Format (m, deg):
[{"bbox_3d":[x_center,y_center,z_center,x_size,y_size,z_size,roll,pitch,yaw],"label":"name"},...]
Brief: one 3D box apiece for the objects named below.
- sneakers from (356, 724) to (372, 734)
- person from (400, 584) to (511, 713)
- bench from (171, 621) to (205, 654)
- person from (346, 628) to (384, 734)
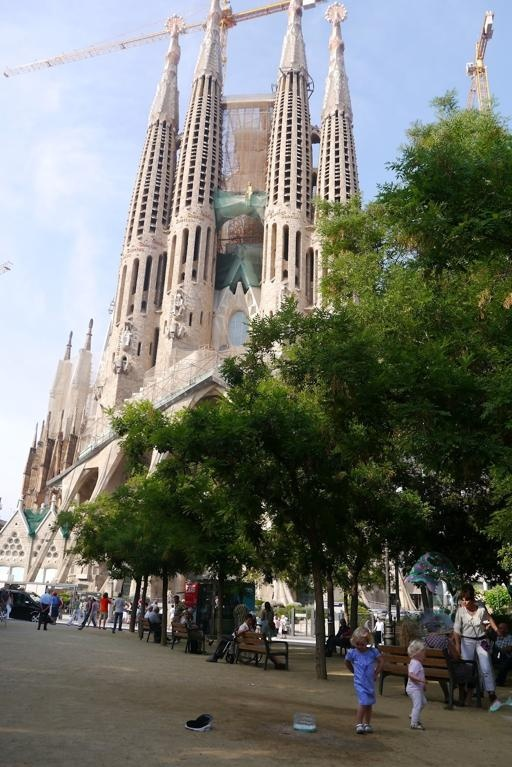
[{"bbox_3d":[0.894,2.869,5.688,0.066,0.062,0.150,0,-25,-4],"label":"sneakers"},{"bbox_3d":[2.671,3.092,8.096,0.534,1.324,0.707,13,-20,-29],"label":"person"},{"bbox_3d":[-1.558,5.763,15.496,0.780,0.626,1.245,4,-17,-3],"label":"bench"},{"bbox_3d":[0.930,2.576,5.976,0.276,0.835,0.480,0,-17,10],"label":"person"}]
